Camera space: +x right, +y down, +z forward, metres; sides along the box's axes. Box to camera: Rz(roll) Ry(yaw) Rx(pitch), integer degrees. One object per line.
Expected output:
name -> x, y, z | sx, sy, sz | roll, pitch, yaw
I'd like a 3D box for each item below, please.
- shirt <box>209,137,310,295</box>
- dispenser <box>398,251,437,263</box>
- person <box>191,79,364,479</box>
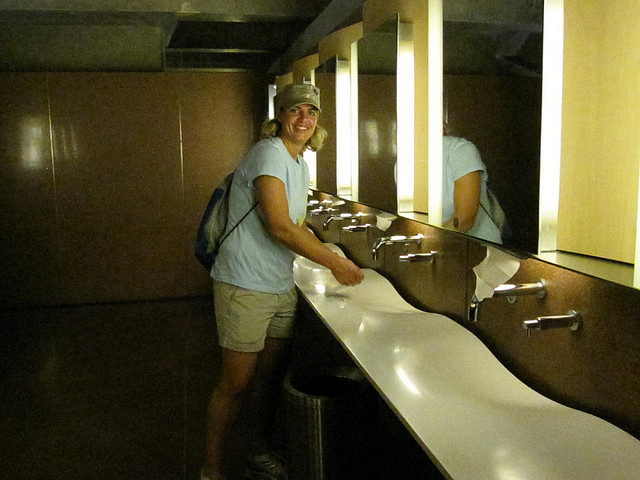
shirt -> -0.264, -0.085, 2.420 | 0.437, 0.682, 0.306 | -2, 10, -4
dispenser -> 0.411, 0.064, 2.434 | 0.211, 0.066, 0.057 | -1, -1, -8
person -> -0.191, 0.215, 2.534 | 0.695, 1.764, 0.542 | 0, 10, 11
